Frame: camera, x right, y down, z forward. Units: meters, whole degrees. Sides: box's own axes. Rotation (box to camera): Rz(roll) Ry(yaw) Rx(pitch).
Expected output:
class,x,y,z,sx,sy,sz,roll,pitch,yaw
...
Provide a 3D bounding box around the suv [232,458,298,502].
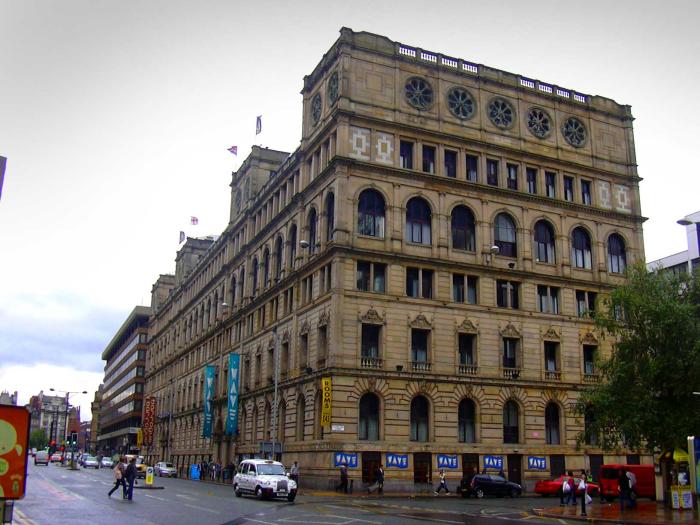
class,x,y,z,sx,sy,sz,roll,pitch,yaw
suv,-5.675,14.418,44.015,2.447,2.607,5.658,8,-15,-33
